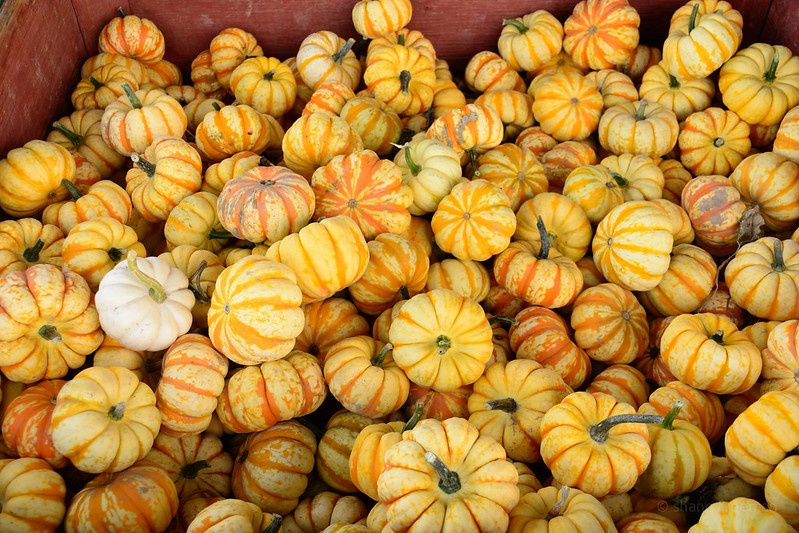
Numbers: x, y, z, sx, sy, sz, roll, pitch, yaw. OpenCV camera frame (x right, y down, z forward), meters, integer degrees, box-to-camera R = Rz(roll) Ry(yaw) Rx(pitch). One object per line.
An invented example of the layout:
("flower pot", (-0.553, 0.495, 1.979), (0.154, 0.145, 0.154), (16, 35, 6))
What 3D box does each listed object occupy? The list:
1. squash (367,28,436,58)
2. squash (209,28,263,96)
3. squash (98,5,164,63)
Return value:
("squash", (0.062, -1.788, 5.841), (0.369, 0.166, 0.351), (22, 38, 14))
("squash", (-1.300, -1.638, 5.906), (0.286, 0.471, 0.502), (10, 38, 28))
("squash", (-2.057, -1.737, 5.764), (0.436, 0.434, 0.430), (-2, 71, -41))
